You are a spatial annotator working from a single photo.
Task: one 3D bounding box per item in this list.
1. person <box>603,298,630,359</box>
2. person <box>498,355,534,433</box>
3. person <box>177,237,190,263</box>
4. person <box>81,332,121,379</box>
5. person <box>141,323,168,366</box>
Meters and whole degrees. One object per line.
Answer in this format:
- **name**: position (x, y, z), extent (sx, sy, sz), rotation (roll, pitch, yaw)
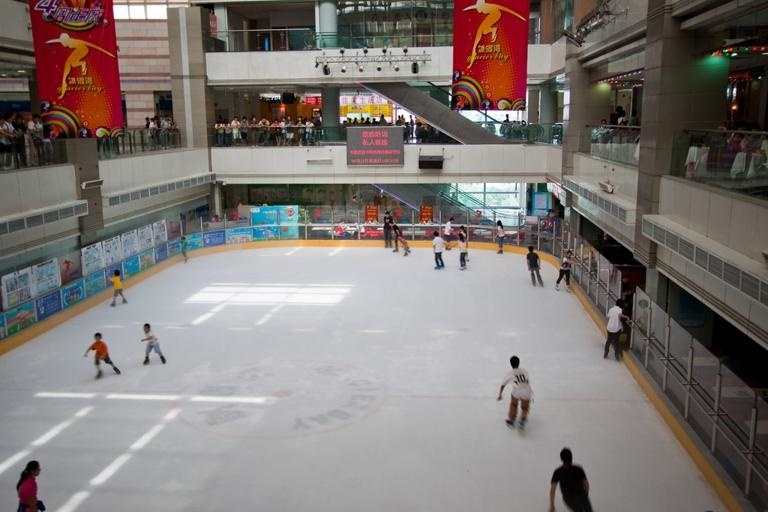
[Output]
- **person**: position (7.601, 2.425, 16.859), extent (0.617, 1.971, 0.831), rotation (5, 16, 24)
- **person**: position (3.631, 3.893, 14.188), extent (0.960, 2.232, 1.046), rotation (-13, 35, 0)
- **person**: position (-11.357, -0.428, 29.223), extent (0.471, 1.341, 1.068), rotation (-7, 16, -22)
- **person**: position (-8.969, 3.167, 16.380), extent (0.925, 1.481, 0.621), rotation (1, 12, -16)
- **person**: position (-7.640, 2.886, 16.984), extent (0.742, 1.432, 0.613), rotation (-8, 9, -35)
